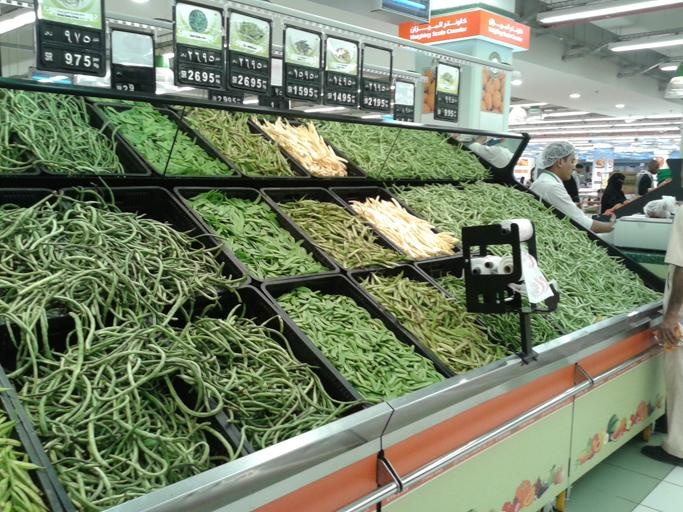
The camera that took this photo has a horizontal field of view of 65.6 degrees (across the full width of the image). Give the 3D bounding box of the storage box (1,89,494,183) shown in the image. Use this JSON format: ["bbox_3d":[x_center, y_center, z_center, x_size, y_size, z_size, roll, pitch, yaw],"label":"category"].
[{"bbox_3d":[-0.443,-0.807,5.049,4.847,0.443,1.037,-4,3,-31],"label":"storage box"}]
